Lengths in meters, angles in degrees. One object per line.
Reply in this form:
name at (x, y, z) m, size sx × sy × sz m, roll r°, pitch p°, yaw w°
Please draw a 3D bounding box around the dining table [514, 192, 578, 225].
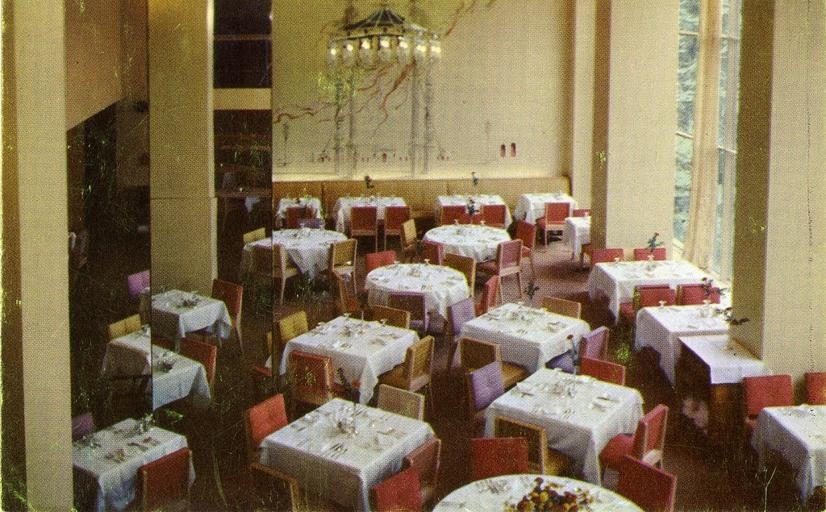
dining table at (2.939, -1.240, 15.495) m, size 0.913 × 0.471 × 0.942 m, roll -3°, pitch 13°, yaw -8°
